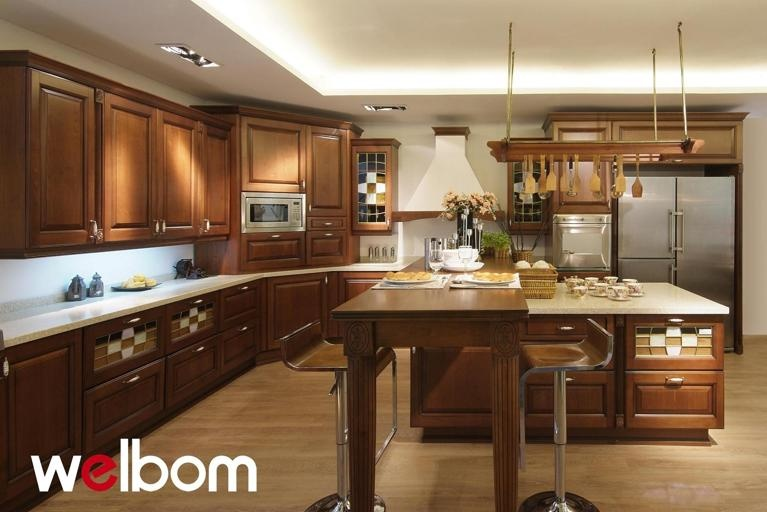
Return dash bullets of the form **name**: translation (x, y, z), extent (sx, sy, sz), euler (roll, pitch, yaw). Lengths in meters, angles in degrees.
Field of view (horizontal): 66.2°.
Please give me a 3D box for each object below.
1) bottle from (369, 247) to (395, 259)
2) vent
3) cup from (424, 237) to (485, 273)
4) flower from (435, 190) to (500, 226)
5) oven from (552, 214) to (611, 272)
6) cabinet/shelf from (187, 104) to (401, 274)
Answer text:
- **bottle**: translation (-0.003, -0.044, 7.430), extent (0.307, 0.194, 0.158), euler (-1, -7, 4)
- **vent**: translation (0.802, -1.047, 7.050), extent (1.323, 1.061, 0.529), euler (0, -1, 5)
- **cup**: translation (0.492, -0.012, 4.806), extent (0.443, 0.244, 0.283), euler (-1, -1, 34)
- **flower**: translation (0.723, -0.480, 5.604), extent (0.537, 0.248, 0.509), euler (1, -1, -27)
- **oven**: translation (2.163, -0.133, 6.763), extent (0.763, 0.686, 0.541), euler (0, 0, -15)
- **cabinet/shelf**: translation (-1.042, -0.747, 6.477), extent (1.979, 1.357, 0.690), euler (-3, 4, -41)
